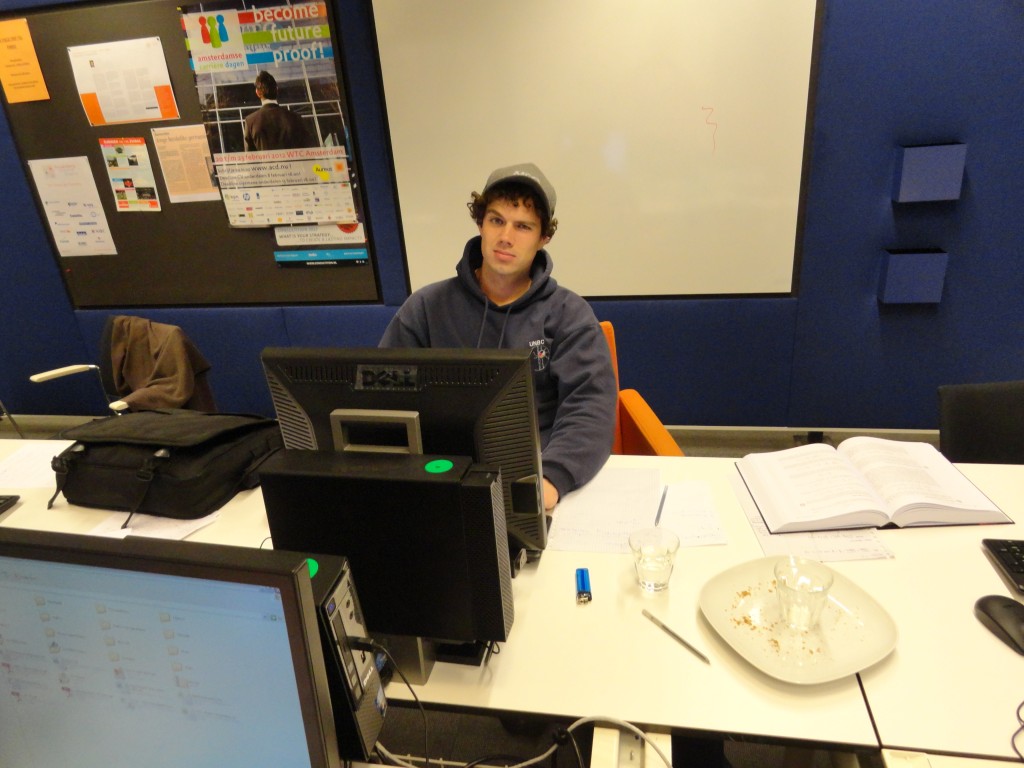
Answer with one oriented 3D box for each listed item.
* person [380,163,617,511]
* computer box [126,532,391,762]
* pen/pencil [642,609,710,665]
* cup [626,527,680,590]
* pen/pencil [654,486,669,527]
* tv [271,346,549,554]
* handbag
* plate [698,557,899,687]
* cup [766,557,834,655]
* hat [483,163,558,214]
[{"bbox_3d":[-0.101,-0.075,2.526,0.833,1.284,0.714,2,-8,11],"label":"person"},{"bbox_3d":[-0.482,0.498,1.659,0.383,0.622,0.320,-3,20,-3],"label":"computer box"},{"bbox_3d":[0.375,0.581,1.750,0.023,0.020,0.166,-36,45,-21],"label":"pen/pencil"},{"bbox_3d":[0.356,0.463,1.923,0.110,0.105,0.115,1,-5,0],"label":"cup"},{"bbox_3d":[0.411,0.338,2.117,0.023,0.016,0.217,-1,25,16],"label":"pen/pencil"},{"bbox_3d":[-0.276,0.175,1.857,0.672,0.589,0.165,1,24,13],"label":"tv"},{"bbox_3d":[-1.075,0.225,2.428,0.606,0.226,0.645,5,10,5],"label":"handbag"},{"bbox_3d":[0.656,0.549,1.708,0.325,0.050,0.352,6,6,-8],"label":"plate"},{"bbox_3d":[0.672,0.536,1.798,0.152,0.200,0.175,4,-24,22],"label":"cup"},{"bbox_3d":[0.021,-0.690,2.583,0.229,0.118,0.319,5,13,-11],"label":"hat"}]
